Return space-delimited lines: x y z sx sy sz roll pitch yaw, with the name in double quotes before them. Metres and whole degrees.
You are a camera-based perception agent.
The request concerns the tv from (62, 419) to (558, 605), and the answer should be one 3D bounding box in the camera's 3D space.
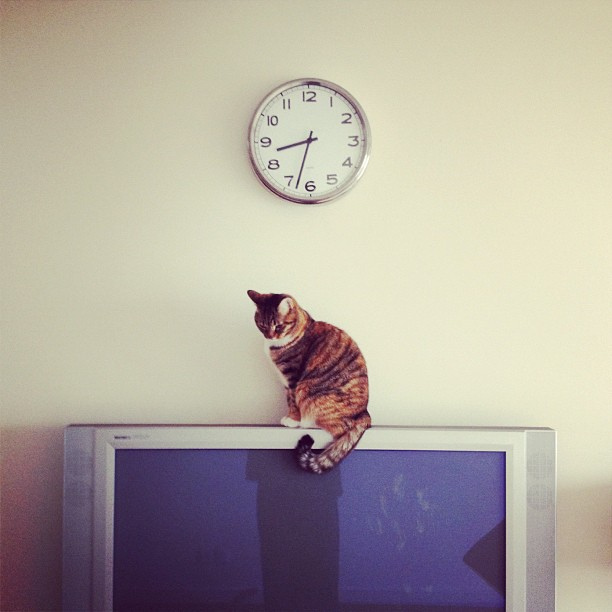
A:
"tv" -0.012 0.531 2.045 1.297 0.470 0.134 0 -8 1
